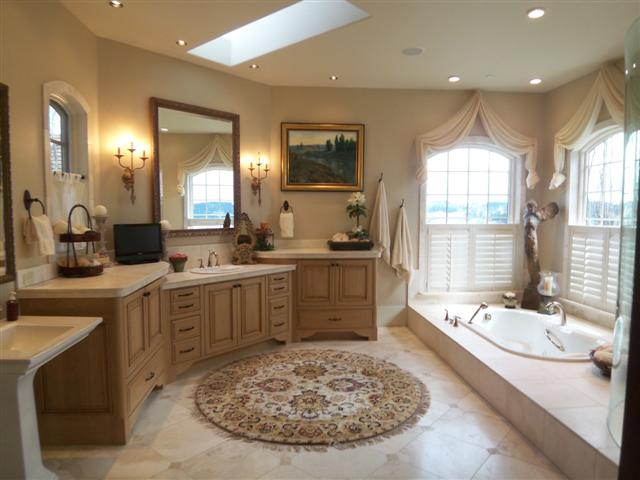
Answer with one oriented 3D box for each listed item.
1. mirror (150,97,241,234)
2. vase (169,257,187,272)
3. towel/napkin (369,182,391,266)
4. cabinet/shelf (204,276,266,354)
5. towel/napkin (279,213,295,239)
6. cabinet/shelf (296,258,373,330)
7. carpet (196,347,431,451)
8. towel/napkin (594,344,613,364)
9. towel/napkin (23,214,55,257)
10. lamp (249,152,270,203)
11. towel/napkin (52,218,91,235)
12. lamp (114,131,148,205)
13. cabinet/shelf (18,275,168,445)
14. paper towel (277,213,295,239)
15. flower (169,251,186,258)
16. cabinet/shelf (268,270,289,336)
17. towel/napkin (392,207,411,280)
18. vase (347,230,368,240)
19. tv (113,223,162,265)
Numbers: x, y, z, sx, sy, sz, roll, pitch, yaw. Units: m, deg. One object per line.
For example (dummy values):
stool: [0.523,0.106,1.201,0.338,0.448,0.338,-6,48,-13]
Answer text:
mirror: [-1.421,-0.838,5.198,1.141,1.515,0.279,-11,17,-40]
vase: [-1.529,0.267,4.887,0.158,0.123,0.161,0,-5,7]
towel/napkin: [0.823,-0.274,6.044,0.288,1.168,0.274,12,18,42]
cabinet/shelf: [-0.933,0.782,4.861,0.426,0.818,0.876,-4,-3,40]
towel/napkin: [-0.426,-0.189,5.778,0.221,0.295,0.085,0,4,-3]
cabinet/shelf: [0.130,0.646,5.556,0.855,0.766,0.333,0,1,-4]
carpet: [-0.120,1.439,4.469,2.168,0.025,2.239,-1,3,-36]
towel/napkin: [2.425,0.982,3.883,0.136,0.106,0.282,8,15,33]
towel/napkin: [-2.230,-0.041,3.615,0.108,0.281,0.277,-1,2,14]
lamp: [-0.789,-0.794,5.790,0.284,0.551,0.161,1,-14,-1]
towel/napkin: [-2.166,-0.115,3.925,0.119,0.081,0.192,-1,-9,6]
lamp: [-1.978,-0.735,4.820,0.160,0.657,0.329,7,15,30]
cabinet/shelf: [-2.001,0.799,4.256,1.021,1.650,1.686,-1,3,-2]
paper towel: [-0.445,-0.184,5.860,0.248,0.331,0.098,1,3,-2]
flower: [-1.565,0.177,4.993,0.185,0.057,0.260,-4,13,-16]
cabinet/shelf: [-0.464,0.807,5.330,0.118,0.846,0.411,8,15,33]
towel/napkin: [1.099,0.001,6.063,0.281,1.014,0.319,1,13,4]
vase: [0.468,-0.064,5.800,0.169,0.078,0.168,3,2,-23]
tv: [-1.890,0.040,4.638,0.417,0.363,0.145,-1,-2,-42]
